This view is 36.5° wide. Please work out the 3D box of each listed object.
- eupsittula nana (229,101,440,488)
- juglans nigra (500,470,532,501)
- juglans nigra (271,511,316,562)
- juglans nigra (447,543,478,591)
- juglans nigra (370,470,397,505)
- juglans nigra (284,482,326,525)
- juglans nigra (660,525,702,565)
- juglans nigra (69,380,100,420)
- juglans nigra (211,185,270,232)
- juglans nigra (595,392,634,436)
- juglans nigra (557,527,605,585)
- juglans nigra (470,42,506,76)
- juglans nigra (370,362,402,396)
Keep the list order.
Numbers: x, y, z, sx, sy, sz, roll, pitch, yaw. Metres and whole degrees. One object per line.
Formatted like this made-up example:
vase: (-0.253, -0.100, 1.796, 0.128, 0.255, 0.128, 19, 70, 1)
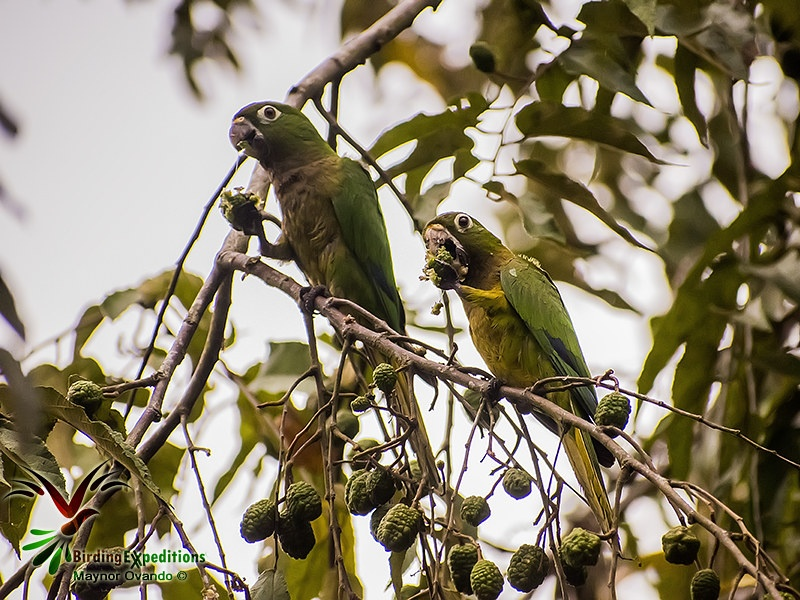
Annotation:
eupsittula nana: (-0.388, -0.310, 5.836, 1.103, 1.038, 0.567, 24, -56, -26)
juglans nigra: (0.444, 0.703, 4.630, 0.104, 0.132, 0.090, -13, -48, 2)
juglans nigra: (-0.403, 0.907, 4.614, 0.140, 0.126, 0.153, -2, -51, -9)
juglans nigra: (0.222, 0.968, 4.427, 0.122, 0.236, 0.128, 0, -7, -16)
juglans nigra: (-0.067, 0.692, 4.546, 0.076, 0.099, 0.135, -4, -54, 10)
juglans nigra: (-0.380, 0.793, 4.650, 0.113, 0.156, 0.163, -7, -25, -44)
juglans nigra: (0.984, 0.869, 4.274, 0.102, 0.176, 0.144, 0, -3, 7)
juglans nigra: (-1.218, 0.388, 4.677, 0.109, 0.105, 0.098, -13, -28, -16)
juglans nigra: (-0.685, -0.394, 5.139, 0.204, 0.136, 0.236, 5, -11, -31)
juglans nigra: (0.779, 0.397, 4.439, 0.078, 0.150, 0.103, -3, -45, 21)
juglans nigra: (0.663, 0.900, 4.418, 0.129, 0.257, 0.144, -28, -96, 9)
juglans nigra: (0.390, -1.117, 5.661, 0.119, 0.274, 0.148, -12, -47, 2)
juglans nigra: (-0.059, 0.305, 4.658, 0.072, 0.055, 0.128, -2, -91, -4)
